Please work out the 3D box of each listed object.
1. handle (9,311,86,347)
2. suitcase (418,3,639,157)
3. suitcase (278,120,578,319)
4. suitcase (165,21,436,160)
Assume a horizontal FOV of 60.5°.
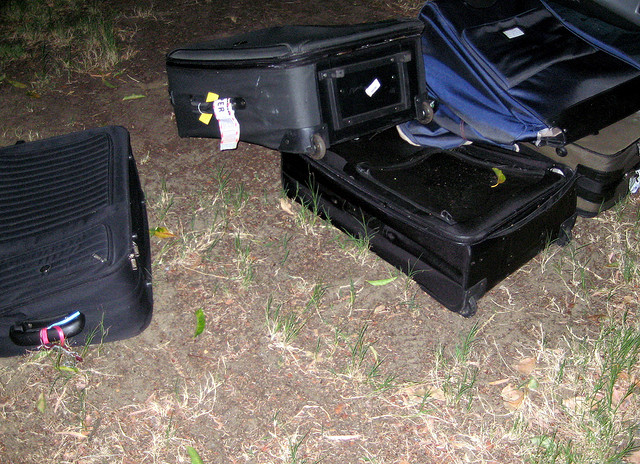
[{"bbox_3d":[-1.249,0.449,2.528,0.346,0.117,0.273,-4,7,16],"label":"handle"},{"bbox_3d":[1.091,-0.785,3.161,0.972,0.434,0.976,-30,62,-17],"label":"suitcase"},{"bbox_3d":[0.484,-0.290,2.963,1.016,0.517,1.383,-30,49,-30],"label":"suitcase"},{"bbox_3d":[-0.225,-0.950,2.903,0.967,0.460,0.963,24,42,38],"label":"suitcase"}]
